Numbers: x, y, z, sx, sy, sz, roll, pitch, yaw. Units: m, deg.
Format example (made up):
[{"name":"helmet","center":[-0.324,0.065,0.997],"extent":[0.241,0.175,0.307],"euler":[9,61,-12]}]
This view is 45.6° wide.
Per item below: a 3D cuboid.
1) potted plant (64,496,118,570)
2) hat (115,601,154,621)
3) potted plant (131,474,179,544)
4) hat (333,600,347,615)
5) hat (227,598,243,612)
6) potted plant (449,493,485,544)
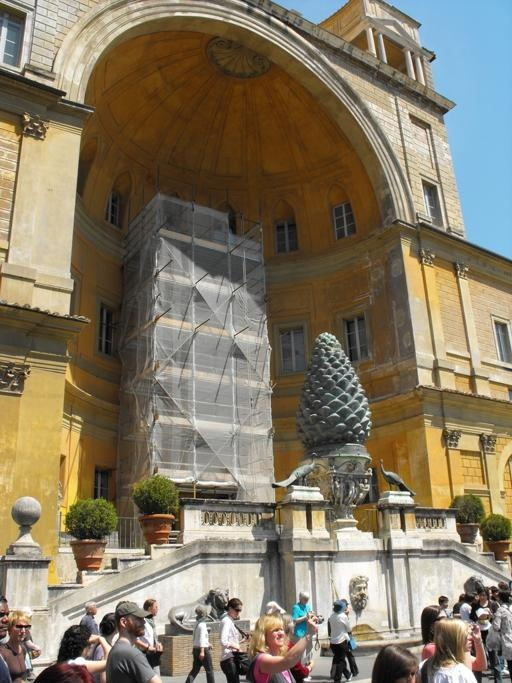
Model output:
[{"name":"potted plant","center":[-3.006,3.481,11.016],"extent":[0.862,1.237,0.596],"euler":[-1,-18,-6]},{"name":"hat","center":[-0.686,1.523,3.497],"extent":[0.234,0.111,0.141],"euler":[-1,-24,-6]},{"name":"potted plant","center":[-1.911,3.224,11.777],"extent":[0.848,1.299,0.692],"euler":[0,-18,-8]},{"name":"hat","center":[1.126,3.566,8.239],"extent":[0.153,0.164,0.198],"euler":[2,-1,34]},{"name":"hat","center":[-0.212,2.562,5.932],"extent":[0.147,0.120,0.266],"euler":[-1,-17,-5]},{"name":"potted plant","center":[5.718,4.761,16.437],"extent":[0.956,1.233,0.948],"euler":[-7,-24,33]}]
